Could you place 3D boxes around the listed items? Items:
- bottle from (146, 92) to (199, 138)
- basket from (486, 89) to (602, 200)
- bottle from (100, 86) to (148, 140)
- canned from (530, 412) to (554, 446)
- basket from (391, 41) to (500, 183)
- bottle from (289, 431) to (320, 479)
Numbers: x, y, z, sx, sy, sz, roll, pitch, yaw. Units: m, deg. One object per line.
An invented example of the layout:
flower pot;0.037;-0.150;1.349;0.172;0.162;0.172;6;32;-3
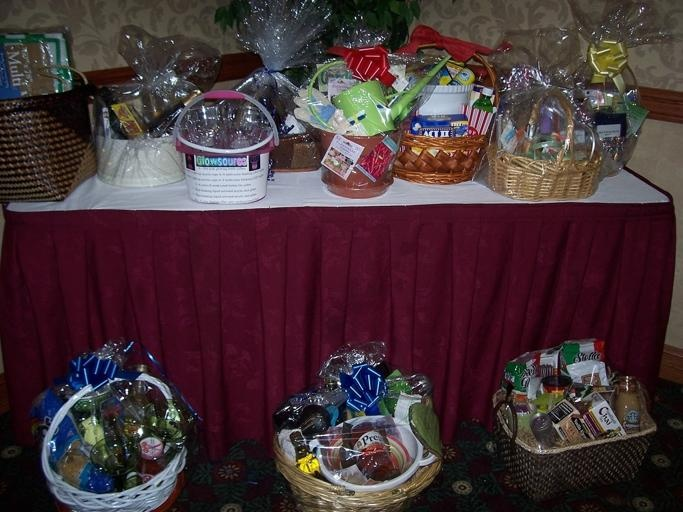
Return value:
bottle;-0.472;-0.385;1.467;0.042;0.040;0.196;23;62;23
basket;0.527;-0.333;1.546;0.325;0.300;0.251;-5;35;-5
bottle;-0.606;-0.389;1.467;0.086;0.160;0.084;-12;23;5
canned;0.585;0.501;1.531;0.059;0.087;0.061;-31;20;-28
basket;0.255;-0.451;1.673;0.297;0.401;0.393;16;24;4
bottle;-0.094;0.514;1.368;0.059;0.031;0.103;-18;60;-16
